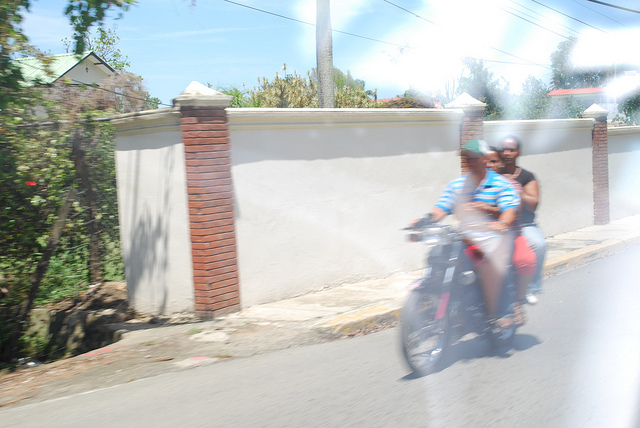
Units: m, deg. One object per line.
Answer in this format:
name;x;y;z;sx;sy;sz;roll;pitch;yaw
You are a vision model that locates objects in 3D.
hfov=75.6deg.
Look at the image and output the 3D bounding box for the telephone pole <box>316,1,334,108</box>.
telephone pole;0.116;-4.802;12.412;0.646;3.135;0.777;-7;7;2
